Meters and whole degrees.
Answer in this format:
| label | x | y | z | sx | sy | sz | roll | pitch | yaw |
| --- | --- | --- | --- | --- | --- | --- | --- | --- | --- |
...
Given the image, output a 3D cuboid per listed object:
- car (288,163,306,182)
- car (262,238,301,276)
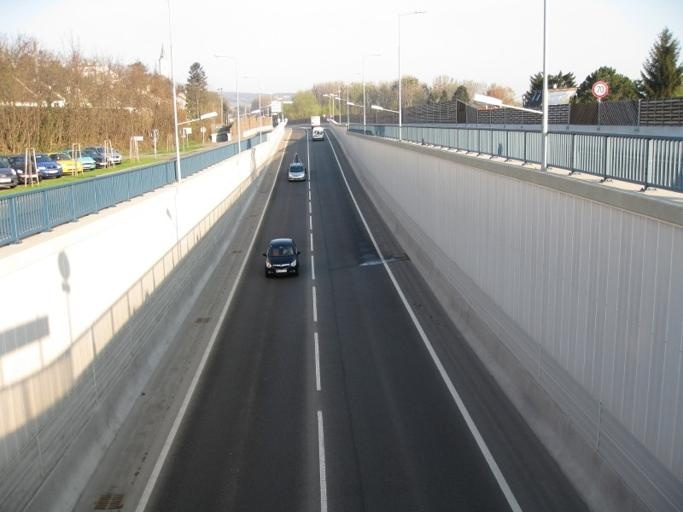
| label | x | y | z | sx | sy | sz | roll | pitch | yaw |
| --- | --- | --- | --- | --- | --- | --- | --- | --- | --- |
| car | -4.725 | -8.960 | 58.181 | 1.726 | 1.632 | 2.696 | -2 | 15 | -3 |
| car | -3.210 | 0.063 | 29.692 | 1.031 | 1.157 | 2.506 | -2 | 14 | -2 |
